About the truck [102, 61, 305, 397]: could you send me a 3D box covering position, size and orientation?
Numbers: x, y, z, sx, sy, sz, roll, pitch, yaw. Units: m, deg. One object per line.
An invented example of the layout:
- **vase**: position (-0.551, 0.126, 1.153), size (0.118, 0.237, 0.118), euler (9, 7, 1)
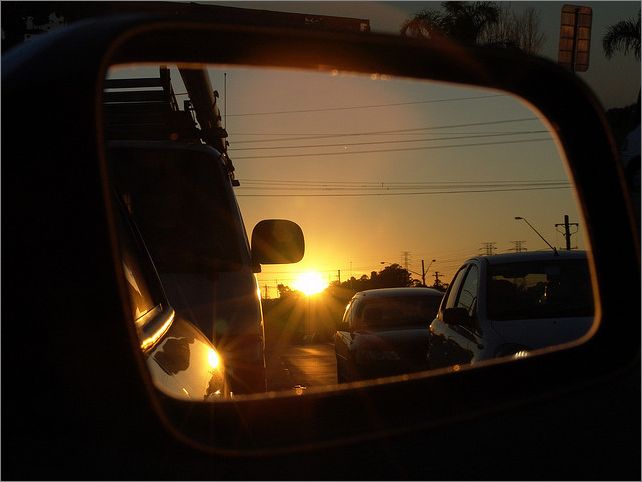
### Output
- **truck**: position (-0.696, -0.076, 3.354), size (0.956, 1.334, 2.273), euler (-2, -2, 8)
